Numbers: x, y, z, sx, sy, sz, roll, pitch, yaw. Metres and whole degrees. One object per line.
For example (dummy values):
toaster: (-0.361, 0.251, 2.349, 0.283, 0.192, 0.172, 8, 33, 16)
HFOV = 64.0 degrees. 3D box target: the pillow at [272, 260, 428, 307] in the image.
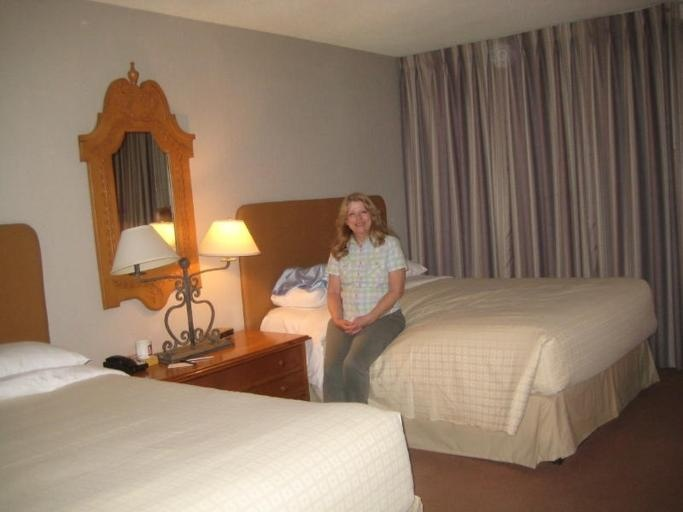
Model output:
pillow: (-0.198, 0.209, 4.491, 0.513, 0.201, 0.829, 3, 13, 35)

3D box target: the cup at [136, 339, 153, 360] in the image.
cup: (-1.293, 0.614, 3.573, 0.099, 0.121, 0.106, 0, -2, 0)

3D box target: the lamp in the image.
lamp: (-1.109, 0.232, 3.804, 0.351, 0.825, 0.867, 0, 6, 38)

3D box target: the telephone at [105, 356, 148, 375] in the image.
telephone: (-1.329, 0.640, 3.382, 0.168, 0.060, 0.129, 6, 5, 22)
